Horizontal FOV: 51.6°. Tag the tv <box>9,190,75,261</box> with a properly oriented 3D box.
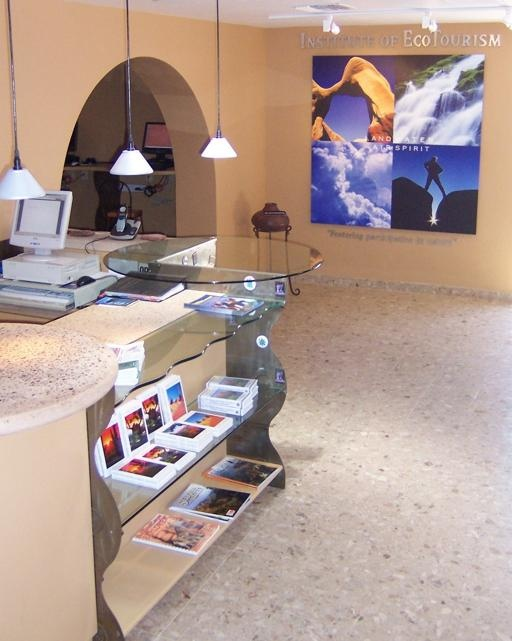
[{"bbox_3d":[-1.430,-0.625,3.485,0.559,0.511,0.223,6,9,21],"label":"tv"}]
